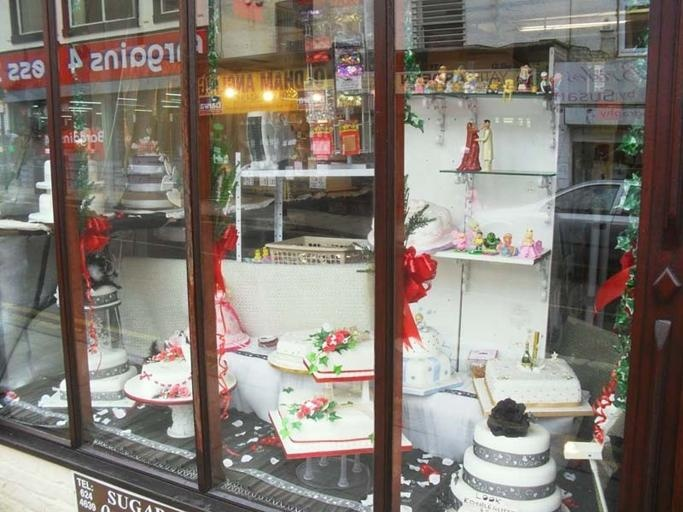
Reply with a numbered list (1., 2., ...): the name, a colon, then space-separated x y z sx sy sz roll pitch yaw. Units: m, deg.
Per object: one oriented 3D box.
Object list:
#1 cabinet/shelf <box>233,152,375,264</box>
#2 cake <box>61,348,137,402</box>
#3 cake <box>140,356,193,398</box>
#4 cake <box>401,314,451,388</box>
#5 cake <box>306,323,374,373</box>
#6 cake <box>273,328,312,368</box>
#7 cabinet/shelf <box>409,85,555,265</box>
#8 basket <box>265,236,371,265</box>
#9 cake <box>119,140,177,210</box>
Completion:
1. cabinet/shelf: -0.156 -0.309 2.373 0.620 0.454 0.369 4 13 6
2. cake: -1.177 0.586 2.961 0.288 0.219 0.286 0 2 -9
3. cake: -0.844 0.579 2.834 0.371 0.192 0.090 7 15 38
4. cake: 0.359 0.408 2.465 0.092 0.337 0.392 4 14 30
5. cake: -0.005 0.402 2.430 0.376 0.231 0.050 8 16 40
6. cake: -0.194 0.401 2.569 0.175 0.173 0.044 5 14 31
7. cabinet/shelf: 0.555 -0.365 2.560 0.717 0.657 0.261 8 12 37
8. basket: -0.101 -0.019 2.455 0.524 0.137 0.051 6 15 36
9. cake: -0.892 -0.377 2.761 0.316 0.326 0.308 -2 10 -23
